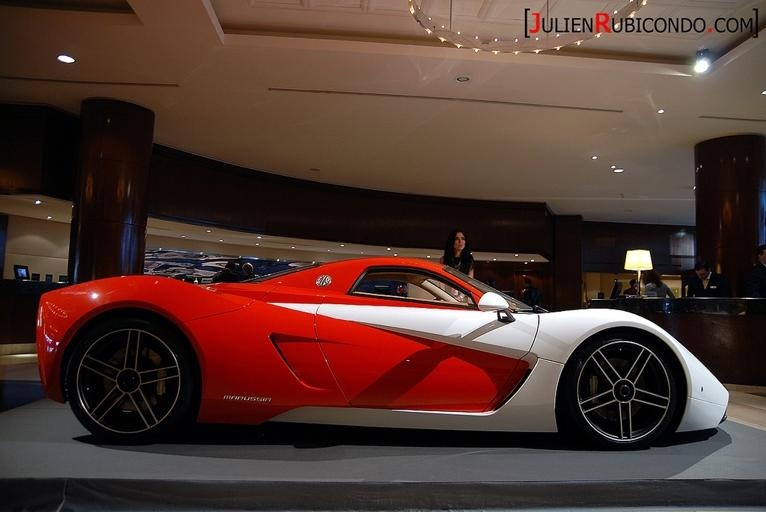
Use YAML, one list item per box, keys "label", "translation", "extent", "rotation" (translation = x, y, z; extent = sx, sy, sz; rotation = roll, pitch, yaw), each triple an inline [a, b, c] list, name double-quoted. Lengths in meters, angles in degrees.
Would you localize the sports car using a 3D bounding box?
- label: "sports car"
  translation: [-0.032, 0.379, 4.185]
  extent: [4.365, 1.151, 2.033]
  rotation: [1, -4, 0]
